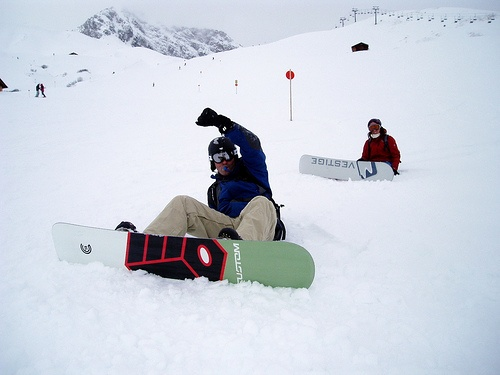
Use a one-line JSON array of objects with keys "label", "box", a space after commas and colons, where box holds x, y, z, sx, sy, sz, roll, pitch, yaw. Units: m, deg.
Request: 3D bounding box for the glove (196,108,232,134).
[{"label": "glove", "box": [-0.676, -1.174, 9.725, 0.526, 0.230, 0.444, 29, 9, -11]}]

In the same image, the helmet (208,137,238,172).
[{"label": "helmet", "box": [-0.553, -0.668, 9.962, 0.375, 0.520, 0.552, -7, 18, 6]}]

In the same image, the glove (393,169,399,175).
[{"label": "glove", "box": [3.506, -0.368, 12.646, 0.087, 0.129, 0.503, 6, -3, 27]}]
